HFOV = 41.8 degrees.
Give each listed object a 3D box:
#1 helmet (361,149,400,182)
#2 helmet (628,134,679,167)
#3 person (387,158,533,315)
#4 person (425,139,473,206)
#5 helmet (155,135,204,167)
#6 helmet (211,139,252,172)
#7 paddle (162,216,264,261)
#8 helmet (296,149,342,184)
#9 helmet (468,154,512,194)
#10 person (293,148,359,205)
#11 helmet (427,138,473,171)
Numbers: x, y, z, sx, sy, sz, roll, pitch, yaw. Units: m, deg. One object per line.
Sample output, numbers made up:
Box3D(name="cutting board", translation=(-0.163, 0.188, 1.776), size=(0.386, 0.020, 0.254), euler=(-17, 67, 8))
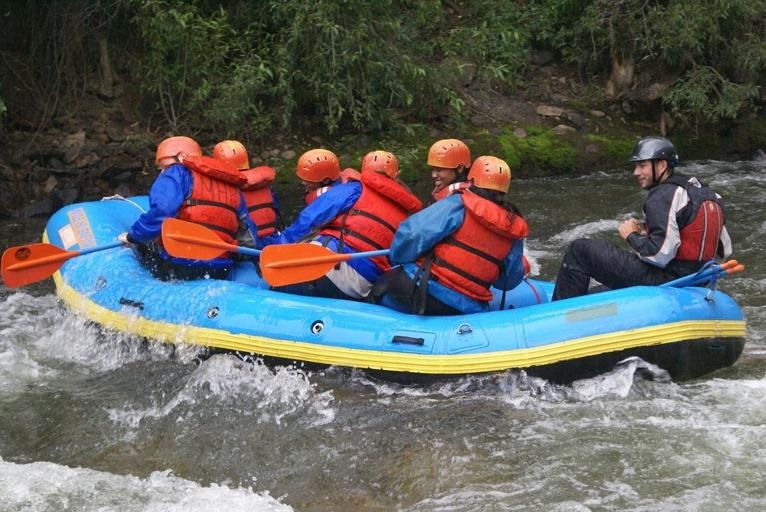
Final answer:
Box3D(name="helmet", translation=(-0.032, -1.047, 11.340), size=(0.327, 0.397, 0.381), euler=(8, 32, 12))
Box3D(name="helmet", translation=(2.911, -1.136, 10.824), size=(0.435, 0.309, 0.312), euler=(-4, 5, -4))
Box3D(name="person", translation=(0.770, -0.158, 10.692), size=(1.449, 1.623, 0.518), euler=(-4, 22, -17))
Box3D(name="person", translation=(0.708, -1.001, 11.450), size=(0.708, 0.788, 0.631), euler=(-4, 15, -10))
Box3D(name="helmet", translation=(-2.355, -1.199, 11.518), size=(0.484, 0.331, 0.363), euler=(3, -8, 3))
Box3D(name="helmet", translation=(-1.818, -1.198, 11.827), size=(0.325, 0.307, 0.411), euler=(-18, 41, -40))
Box3D(name="paddle", translation=(-2.056, -0.156, 11.028), size=(1.434, 0.387, 0.135), euler=(5, 3, -11))
Box3D(name="helmet", translation=(-0.757, -1.035, 11.567), size=(0.486, 0.264, 0.353), euler=(-8, 3, 1))
Box3D(name="helmet", translation=(1.116, -0.902, 10.775), size=(0.353, 0.255, 0.430), euler=(10, 20, -30))
Box3D(name="person", translation=(-0.700, -0.913, 11.465), size=(0.832, 0.578, 0.466), euler=(-16, 36, -2))
Box3D(name="helmet", translation=(0.744, -1.147, 11.367), size=(0.450, 0.245, 0.317), euler=(-5, 17, -17))
